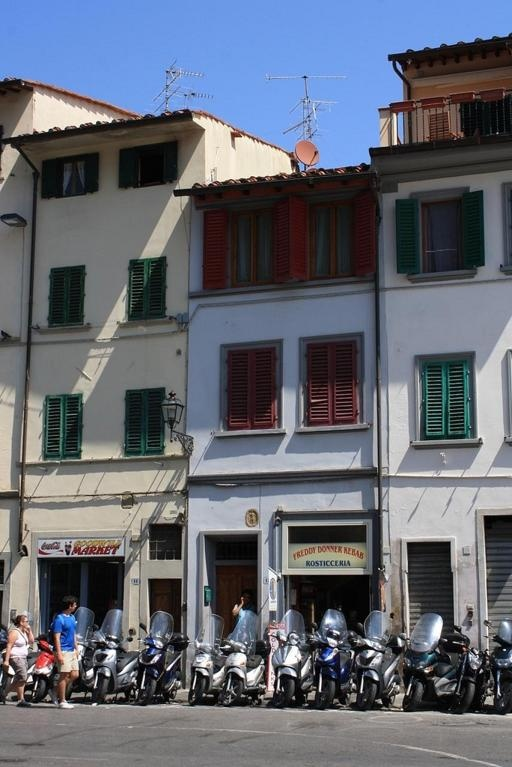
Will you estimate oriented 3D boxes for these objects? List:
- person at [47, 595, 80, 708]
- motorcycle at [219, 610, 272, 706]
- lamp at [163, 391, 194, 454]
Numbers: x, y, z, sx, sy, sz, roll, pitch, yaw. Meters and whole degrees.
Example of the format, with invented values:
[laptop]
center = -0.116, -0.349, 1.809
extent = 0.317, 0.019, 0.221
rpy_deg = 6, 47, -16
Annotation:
[person]
center = -2.379, 3.329, 18.201
extent = 0.326, 1.380, 0.554
rpy_deg = 2, -13, -8
[motorcycle]
center = -0.198, 3.591, 19.274
extent = 0.468, 1.301, 0.989
rpy_deg = -4, -14, 18
[lamp]
center = -1.335, 0.649, 23.679
extent = 0.531, 0.980, 0.563
rpy_deg = -7, -15, 27
